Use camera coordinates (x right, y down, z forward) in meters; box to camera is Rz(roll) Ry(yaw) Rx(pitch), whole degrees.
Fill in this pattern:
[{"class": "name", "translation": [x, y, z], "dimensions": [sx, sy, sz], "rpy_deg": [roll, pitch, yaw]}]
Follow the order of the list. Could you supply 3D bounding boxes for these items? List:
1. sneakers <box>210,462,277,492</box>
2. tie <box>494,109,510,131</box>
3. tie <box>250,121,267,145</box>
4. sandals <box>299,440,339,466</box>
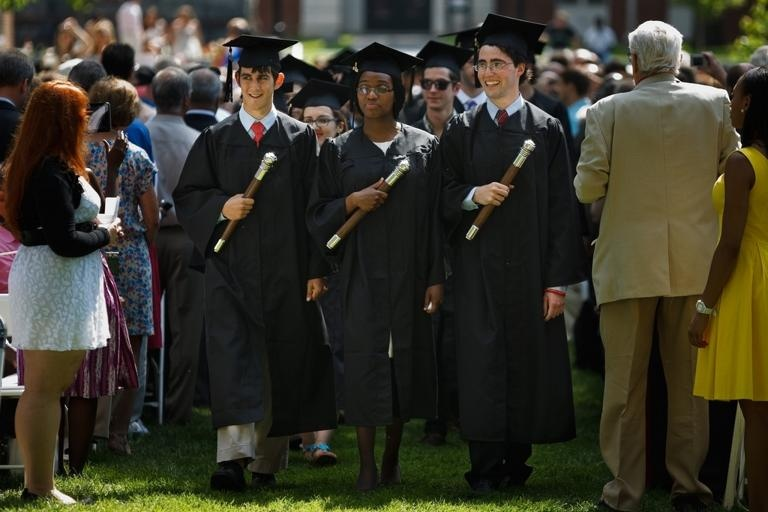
[{"class": "sneakers", "translation": [-0.944, 1.573, 8.510], "dimensions": [0.557, 0.173, 0.227], "rpy_deg": [5, 6, 12]}, {"class": "tie", "translation": [0.837, -0.954, 8.583], "dimensions": [0.094, 0.141, 0.036], "rpy_deg": [2, -10, 13]}, {"class": "tie", "translation": [-0.902, -0.894, 8.749], "dimensions": [0.104, 0.148, 0.037], "rpy_deg": [-4, 3, 7]}, {"class": "sandals", "translation": [-0.485, 1.526, 9.264], "dimensions": [0.088, 0.107, 0.317], "rpy_deg": [-11, 2, -26]}]
